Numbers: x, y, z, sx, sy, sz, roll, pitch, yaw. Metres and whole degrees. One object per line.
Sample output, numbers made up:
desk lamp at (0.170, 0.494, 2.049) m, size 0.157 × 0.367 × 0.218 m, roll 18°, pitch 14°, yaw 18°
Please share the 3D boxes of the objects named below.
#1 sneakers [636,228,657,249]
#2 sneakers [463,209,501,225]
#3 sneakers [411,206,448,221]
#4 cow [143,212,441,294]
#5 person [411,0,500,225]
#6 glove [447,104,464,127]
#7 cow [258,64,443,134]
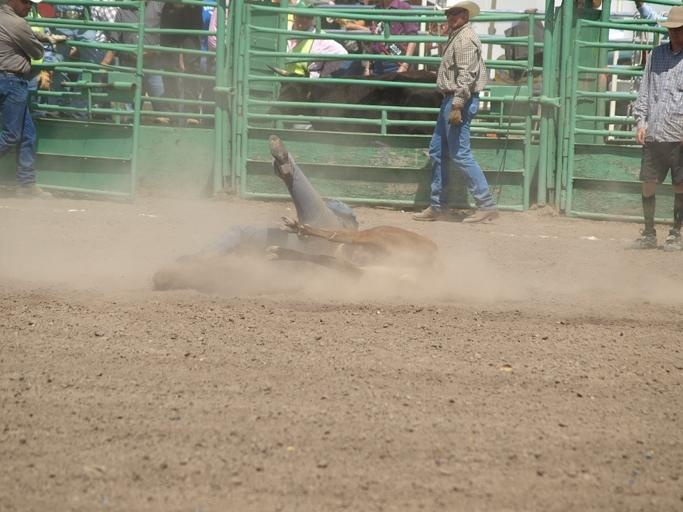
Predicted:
sneakers at (2.882, -0.165, 7.395) m, size 0.195 × 0.182 × 0.196 m, roll 1°, pitch -2°, yaw 19°
sneakers at (1.524, -0.426, 8.502) m, size 0.425 × 0.192 × 0.151 m, roll -1°, pitch 2°, yaw 0°
sneakers at (0.976, -0.452, 8.550) m, size 0.377 × 0.147 × 0.141 m, roll 3°, pitch 1°, yaw 3°
cow at (-0.411, -0.006, 6.114) m, size 1.584 × 0.617 × 0.333 m, roll -5°, pitch 34°, yaw -18°
person at (1.254, -1.368, 8.375) m, size 0.635 × 2.017 × 0.675 m, roll -7°, pitch 12°, yaw -44°
glove at (1.172, -1.421, 8.071) m, size 0.193 × 0.323 × 0.149 m, roll -2°, pitch -22°, yaw 5°
cow at (0.240, -2.023, 9.266) m, size 2.418 × 0.698 × 1.162 m, roll 2°, pitch -11°, yaw 0°
